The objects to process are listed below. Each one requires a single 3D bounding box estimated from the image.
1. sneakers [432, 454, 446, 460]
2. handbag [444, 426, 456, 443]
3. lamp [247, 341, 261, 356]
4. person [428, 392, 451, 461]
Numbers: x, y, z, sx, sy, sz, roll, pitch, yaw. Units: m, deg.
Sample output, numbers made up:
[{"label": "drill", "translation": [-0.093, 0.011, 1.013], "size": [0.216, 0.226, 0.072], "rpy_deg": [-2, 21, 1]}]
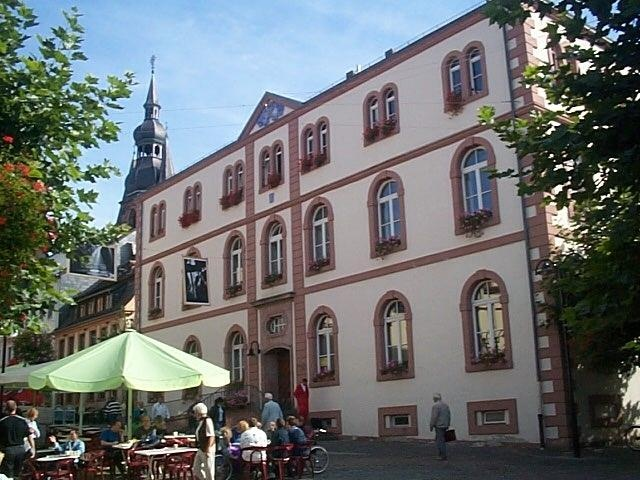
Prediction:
[{"label": "sneakers", "translation": [2.899, 5.294, 17.717], "size": [0.285, 0.105, 0.104], "rpy_deg": [-4, -5, 22]}, {"label": "handbag", "translation": [3.243, 4.833, 18.052], "size": [0.186, 0.270, 0.660], "rpy_deg": [-10, -20, 16]}, {"label": "lamp", "translation": [-2.595, 4.299, 28.929], "size": [0.680, 0.632, 0.180], "rpy_deg": [-20, -26, 38]}, {"label": "person", "translation": [3.060, 4.686, 18.358], "size": [0.488, 1.667, 1.187], "rpy_deg": [-6, -20, 6]}]
